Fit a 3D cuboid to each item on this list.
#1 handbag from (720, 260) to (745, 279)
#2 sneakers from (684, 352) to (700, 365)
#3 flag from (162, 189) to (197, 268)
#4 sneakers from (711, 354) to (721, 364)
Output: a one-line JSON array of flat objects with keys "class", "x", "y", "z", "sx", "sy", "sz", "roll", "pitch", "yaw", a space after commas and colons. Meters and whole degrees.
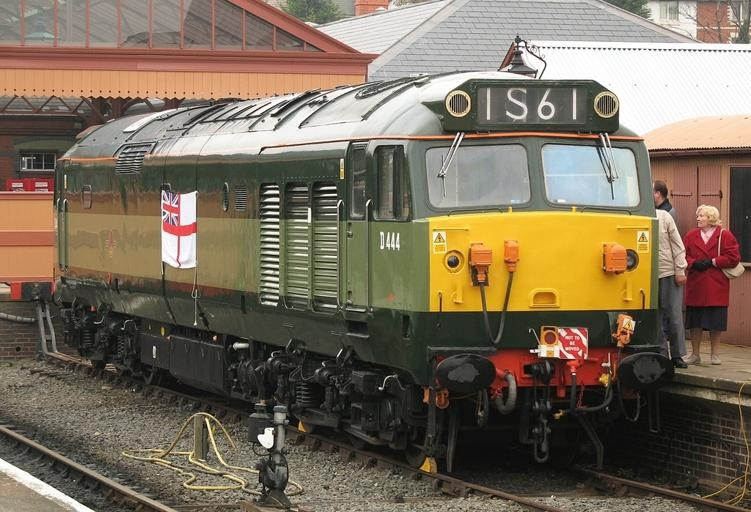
[{"class": "handbag", "x": 4.907, "y": 0.187, "z": 11.910, "sx": 0.265, "sy": 0.221, "sz": 0.115, "roll": 3, "pitch": 17, "yaw": 11}, {"class": "sneakers", "x": 4.304, "y": 1.397, "z": 11.769, "sx": 0.118, "sy": 0.140, "sz": 0.330, "roll": -3, "pitch": -5, "yaw": 33}, {"class": "flag", "x": -3.182, "y": -0.408, "z": 14.105, "sx": 0.085, "sy": 1.243, "sz": 1.131, "roll": -4, "pitch": 7, "yaw": -44}, {"class": "sneakers", "x": 4.585, "y": 1.395, "z": 11.685, "sx": 0.120, "sy": 0.100, "sz": 0.252, "roll": 0, "pitch": 3, "yaw": 22}]
